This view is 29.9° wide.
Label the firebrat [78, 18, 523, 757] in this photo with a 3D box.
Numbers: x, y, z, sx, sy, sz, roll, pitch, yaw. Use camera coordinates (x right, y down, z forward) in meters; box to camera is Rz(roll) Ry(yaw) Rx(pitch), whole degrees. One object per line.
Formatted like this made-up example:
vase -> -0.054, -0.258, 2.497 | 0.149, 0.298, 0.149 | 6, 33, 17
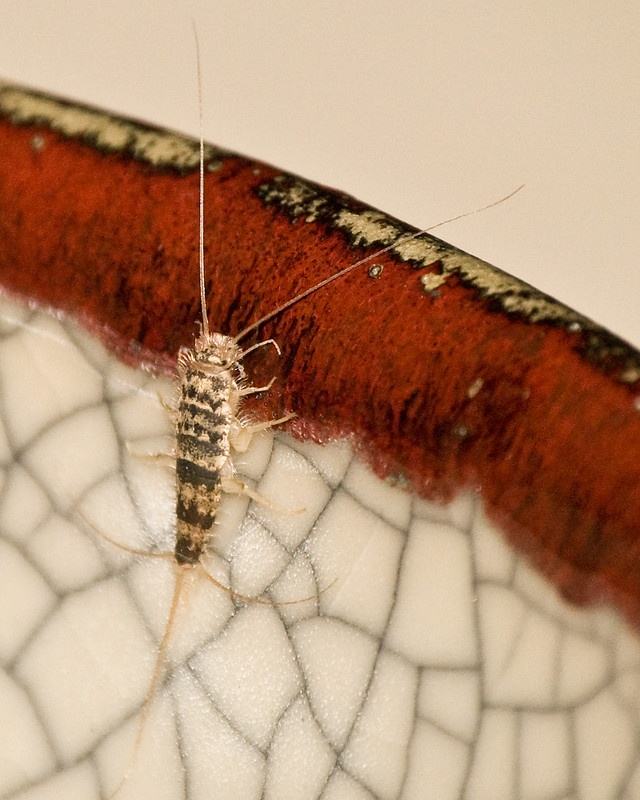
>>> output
firebrat -> -0.193, 0.124, 2.418 | 0.474, 1.163, 0.512 | 12, 30, 4
